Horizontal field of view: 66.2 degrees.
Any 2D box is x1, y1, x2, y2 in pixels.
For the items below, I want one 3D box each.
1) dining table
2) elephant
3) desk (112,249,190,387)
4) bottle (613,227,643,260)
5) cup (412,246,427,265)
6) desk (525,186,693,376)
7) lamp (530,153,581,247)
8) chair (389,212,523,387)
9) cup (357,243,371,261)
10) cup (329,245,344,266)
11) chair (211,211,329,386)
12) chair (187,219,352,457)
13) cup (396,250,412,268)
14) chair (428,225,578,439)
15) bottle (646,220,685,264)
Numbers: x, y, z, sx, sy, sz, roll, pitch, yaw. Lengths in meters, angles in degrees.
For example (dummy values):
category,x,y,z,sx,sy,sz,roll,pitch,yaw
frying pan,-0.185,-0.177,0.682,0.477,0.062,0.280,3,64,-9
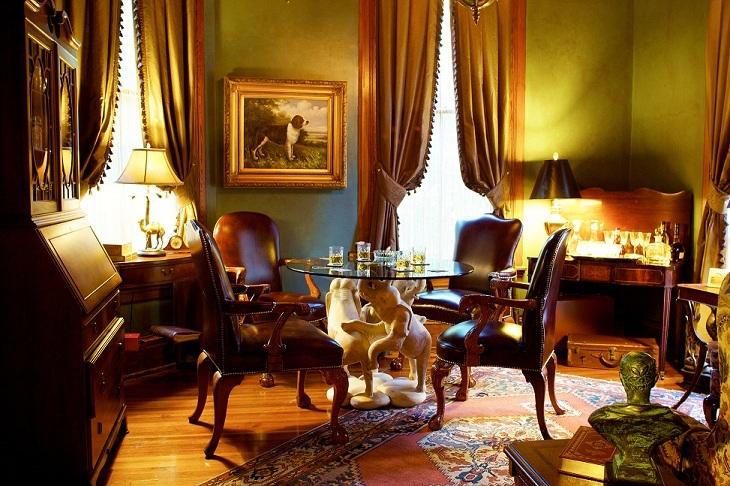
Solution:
category,x,y,z,sx,sy,sz,roll,pitch,yaw
dining table,0.120,0.726,4.441,1.317,1.028,1.320,0,-2,-31
elephant,0.097,0.620,4.217,0.957,1.113,0.646,2,-2,-10
desk,-1.824,0.636,4.703,0.435,1.062,1.084,0,1,21
bottle,2.659,0.001,5.682,0.249,0.357,0.288,-3,3,-2
cup,0.430,0.108,4.466,0.113,0.133,0.109,0,2,0
desk,2.428,0.444,5.571,1.077,1.580,0.559,3,-26,21
lamp,2.013,-0.426,5.888,0.529,0.939,0.548,1,-1,-27
chair,0.946,0.269,5.223,0.820,1.095,0.895,7,9,34
cup,-0.032,0.071,4.668,0.149,0.156,0.125,0,0,11
cup,-0.224,0.105,4.506,0.136,0.165,0.142,0,-3,0
chair,-0.889,0.589,5.385,1.016,1.664,0.992,11,31,12
chair,-0.690,0.632,4.034,1.147,1.481,1.058,-3,5,-41
cup,0.307,0.126,4.440,0.119,0.138,0.114,0,4,0
chair,1.017,0.621,4.146,0.919,1.418,0.934,5,6,31
bottle,2.904,0.003,5.403,0.330,0.369,0.601,5,11,30
